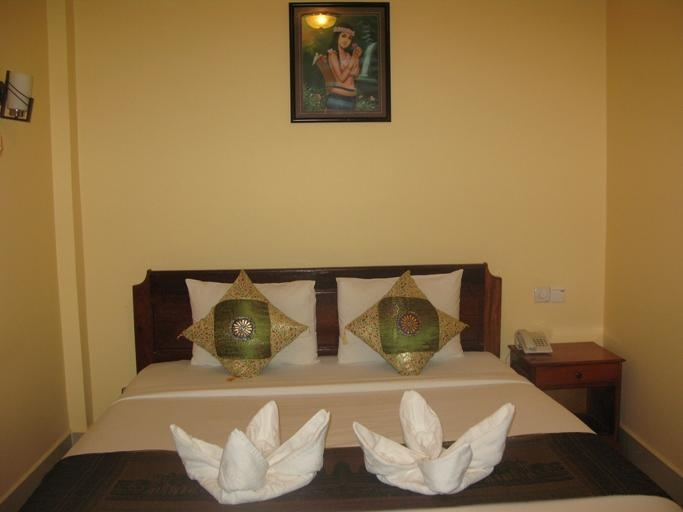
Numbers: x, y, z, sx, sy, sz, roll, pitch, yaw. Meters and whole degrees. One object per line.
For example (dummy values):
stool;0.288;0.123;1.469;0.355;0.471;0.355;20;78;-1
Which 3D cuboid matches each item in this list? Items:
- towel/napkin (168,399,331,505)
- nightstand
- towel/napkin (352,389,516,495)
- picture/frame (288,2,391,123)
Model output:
towel/napkin;-0.336;0.860;2.227;0.396;0.210;0.486;-1;0;-20
nightstand;1.490;0.767;3.653;0.700;0.771;0.543;-2;9;-8
towel/napkin;0.394;0.825;2.279;0.476;0.218;0.429;0;10;19
picture/frame;-0.035;-1.311;3.577;0.744;0.861;0.059;-1;2;-5
